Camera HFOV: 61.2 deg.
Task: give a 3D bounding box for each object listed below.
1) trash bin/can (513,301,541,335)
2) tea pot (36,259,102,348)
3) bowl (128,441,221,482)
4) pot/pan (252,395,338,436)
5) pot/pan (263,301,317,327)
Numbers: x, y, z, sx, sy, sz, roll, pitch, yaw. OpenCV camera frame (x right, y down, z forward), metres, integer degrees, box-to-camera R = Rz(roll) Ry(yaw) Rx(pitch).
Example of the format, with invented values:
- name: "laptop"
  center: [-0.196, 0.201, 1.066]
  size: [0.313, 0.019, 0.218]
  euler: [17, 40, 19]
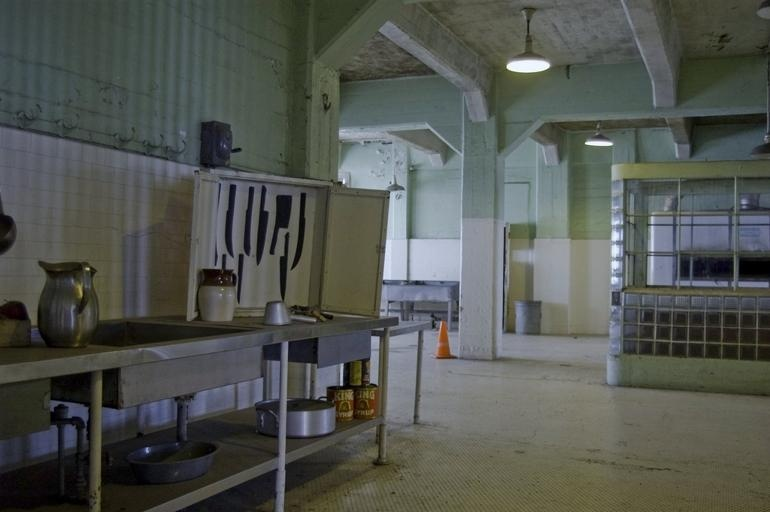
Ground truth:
- name: "trash bin/can"
  center: [2.997, 1.330, 14.277]
  size: [0.704, 0.680, 0.691]
  euler: [0, -3, 1]
- name: "tea pot"
  center: [-1.843, 0.279, 3.789]
  size: [0.301, 0.477, 0.202]
  euler: [-1, 4, -28]
- name: "bowl"
  center: [-1.419, 1.361, 4.386]
  size: [0.562, 0.154, 0.483]
  euler: [-1, 3, -23]
- name: "pot/pan"
  center: [-0.679, 1.260, 5.171]
  size: [0.658, 0.216, 0.593]
  euler: [-1, 3, -34]
- name: "pot/pan"
  center: [-0.728, 0.425, 4.874]
  size: [0.332, 0.112, 0.190]
  euler: [0, 0, 14]
